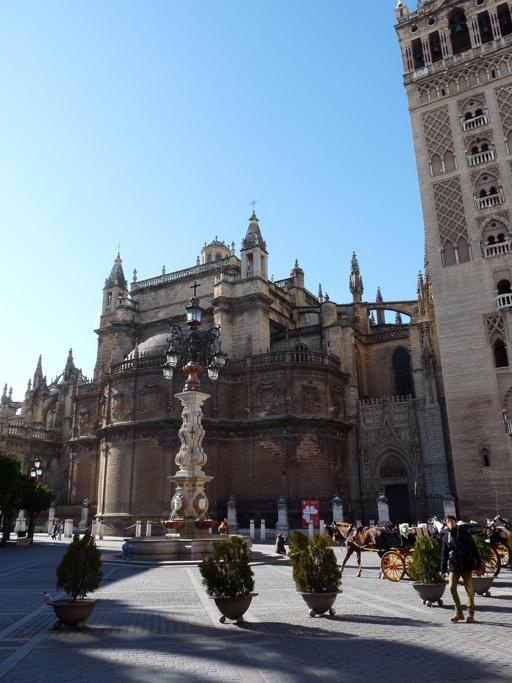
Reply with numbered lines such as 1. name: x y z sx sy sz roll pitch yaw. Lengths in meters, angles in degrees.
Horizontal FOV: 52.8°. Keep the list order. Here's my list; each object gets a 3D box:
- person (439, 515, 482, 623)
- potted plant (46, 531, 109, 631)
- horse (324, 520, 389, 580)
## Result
1. person: 2.937 3.234 7.432 0.550 1.388 0.854 -7 -18 17
2. potted plant: -2.425 3.202 7.060 0.746 1.127 0.711 1 -25 -3
3. horse: 2.802 5.546 13.820 0.605 1.399 2.226 19 -27 -34
